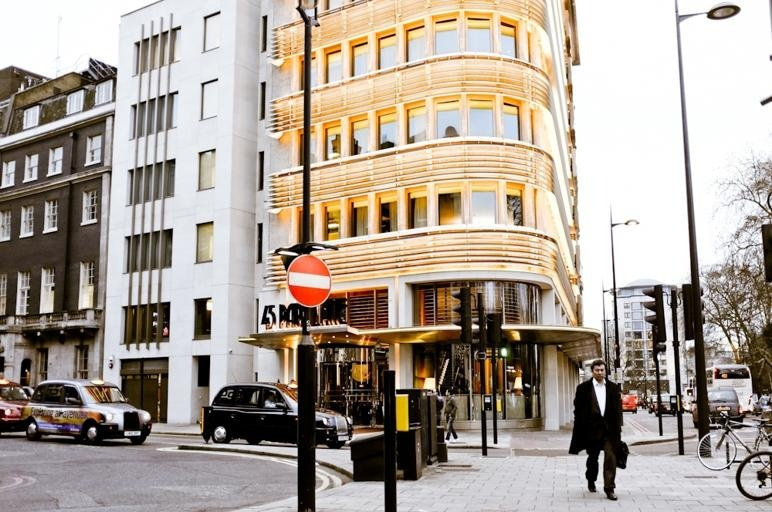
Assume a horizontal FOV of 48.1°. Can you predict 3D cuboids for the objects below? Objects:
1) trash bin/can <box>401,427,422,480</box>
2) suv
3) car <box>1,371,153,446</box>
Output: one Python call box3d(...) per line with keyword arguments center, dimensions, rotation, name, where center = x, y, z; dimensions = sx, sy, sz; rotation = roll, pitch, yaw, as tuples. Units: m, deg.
box3d(center=(0.755, 6.105, 26.792), dimensions=(0.905, 1.575, 0.633), rotation=(4, -14, -23), name="trash bin/can")
box3d(center=(-4.481, 6.477, 34.977), dimensions=(4.610, 2.077, 2.977), rotation=(-3, -9, 17), name="suv")
box3d(center=(-12.394, 6.512, 36.258), dimensions=(4.993, 2.194, 2.626), rotation=(-6, -14, 30), name="car")
